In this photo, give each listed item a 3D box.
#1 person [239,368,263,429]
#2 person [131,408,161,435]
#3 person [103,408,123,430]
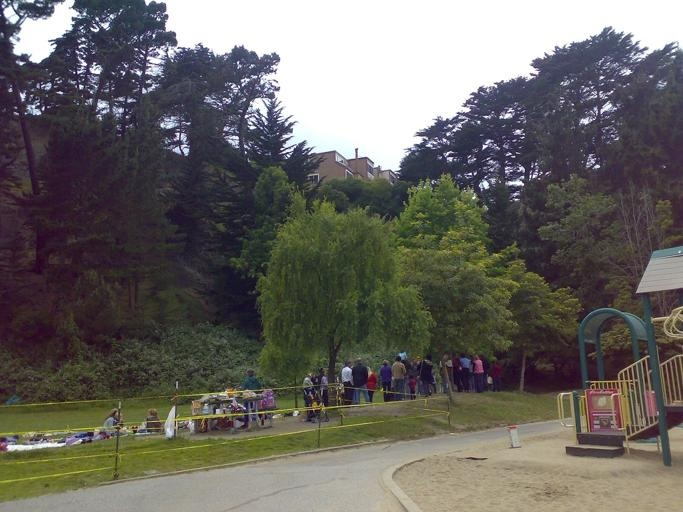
[{"bbox_3d":[-3.691,5.868,25.824,0.823,2.334,0.792,9,-36,-24],"label":"person"},{"bbox_3d":[-7.940,6.689,25.648,1.172,0.886,1.296,0,-4,-18],"label":"person"},{"bbox_3d":[-9.178,6.504,25.214,0.567,0.871,1.796,0,-4,-15],"label":"person"}]
